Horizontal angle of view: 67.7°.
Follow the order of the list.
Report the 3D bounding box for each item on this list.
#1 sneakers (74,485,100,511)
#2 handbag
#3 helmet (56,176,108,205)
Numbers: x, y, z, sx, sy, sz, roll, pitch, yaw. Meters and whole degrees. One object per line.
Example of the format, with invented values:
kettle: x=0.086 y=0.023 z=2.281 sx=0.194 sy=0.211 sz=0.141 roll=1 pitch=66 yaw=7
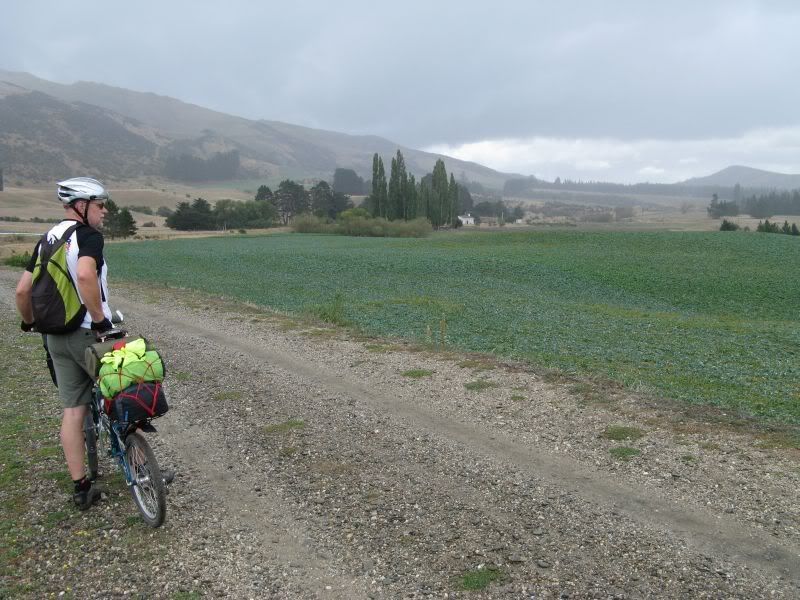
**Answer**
sneakers: x=-5.039 y=3.181 z=9.695 sx=0.203 sy=0.288 sz=0.572 roll=2 pitch=11 yaw=10
handbag: x=-4.295 y=1.260 z=9.313 sx=0.918 sy=0.598 sz=1.484 roll=-10 pitch=55 yaw=-39
helmet: x=-5.054 y=-1.720 z=9.450 sx=0.643 sy=0.385 sz=0.466 roll=-10 pitch=27 yaw=-42
